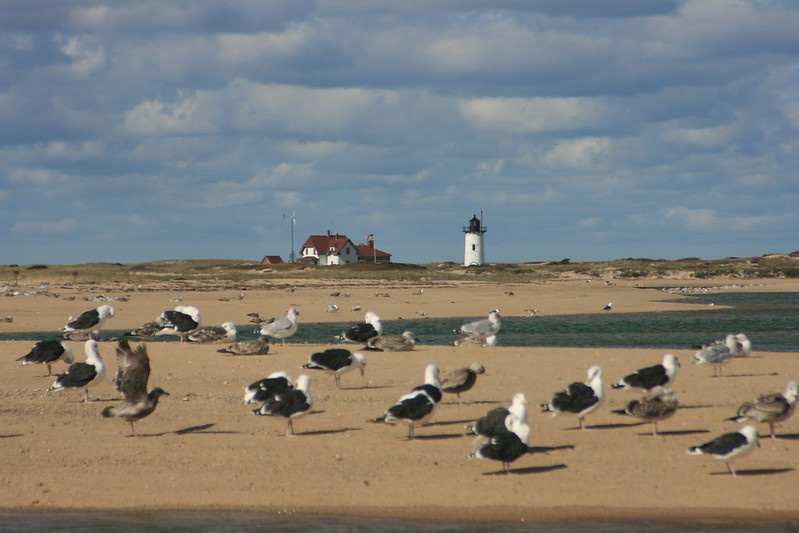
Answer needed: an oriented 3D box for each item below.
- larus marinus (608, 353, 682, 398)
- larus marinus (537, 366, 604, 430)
[{"bbox_3d":[9.150,3.909,45.130,3.123,1.513,1.064,0,4,-7],"label":"larus marinus"},{"bbox_3d":[6.313,4.404,42.749,2.179,1.620,0.671,-5,4,-24],"label":"larus marinus"}]
